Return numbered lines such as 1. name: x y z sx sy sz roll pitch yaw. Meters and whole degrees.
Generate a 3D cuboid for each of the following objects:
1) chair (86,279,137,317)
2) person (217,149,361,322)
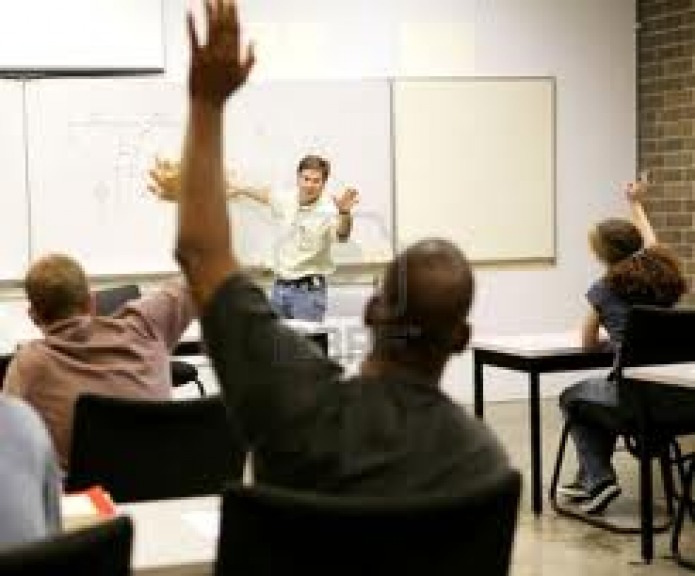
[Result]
1. chair: -1.170 0.044 3.199 0.145 0.152 0.198 -9 -14 -47
2. person: -0.350 -0.402 4.037 0.947 1.406 0.480 3 -6 26
